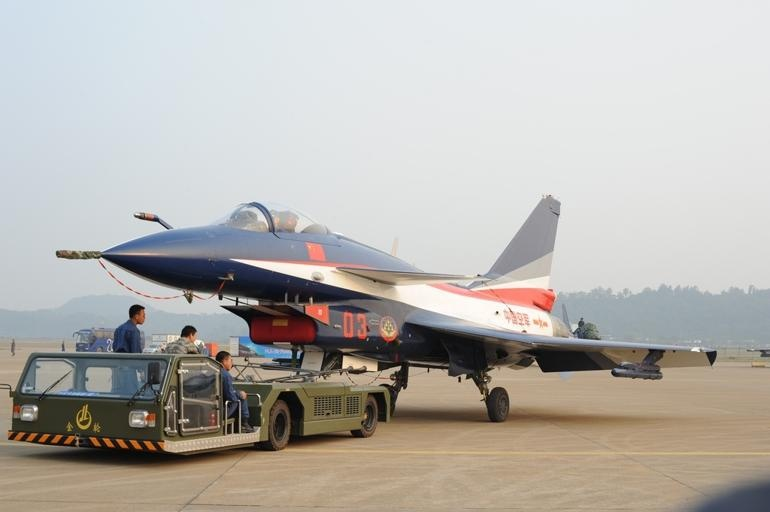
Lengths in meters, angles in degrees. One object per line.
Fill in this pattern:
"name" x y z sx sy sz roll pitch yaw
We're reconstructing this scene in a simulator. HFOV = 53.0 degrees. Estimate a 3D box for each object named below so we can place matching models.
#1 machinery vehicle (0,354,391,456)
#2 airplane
"machinery vehicle" -2.957 2.646 14.373 3.008 1.004 4.712 -5 -8 38
"airplane" -0.131 1.017 18.453 10.118 3.273 8.321 10 -9 -39
